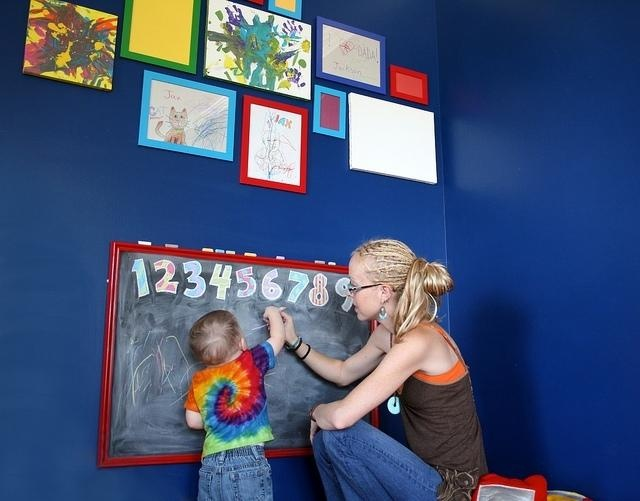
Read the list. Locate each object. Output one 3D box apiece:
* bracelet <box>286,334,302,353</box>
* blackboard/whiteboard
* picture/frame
[{"bbox_3d":[-0.113,0.410,2.371,0.072,0.034,0.056,-28,-19,-18],"label":"bracelet"},{"bbox_3d":[-0.383,0.446,2.185,0.934,0.713,0.040,6,-17,-26],"label":"blackboard/whiteboard"},{"bbox_3d":[-0.267,-0.724,2.573,1.038,0.612,0.020,9,-22,-29],"label":"picture/frame"}]
